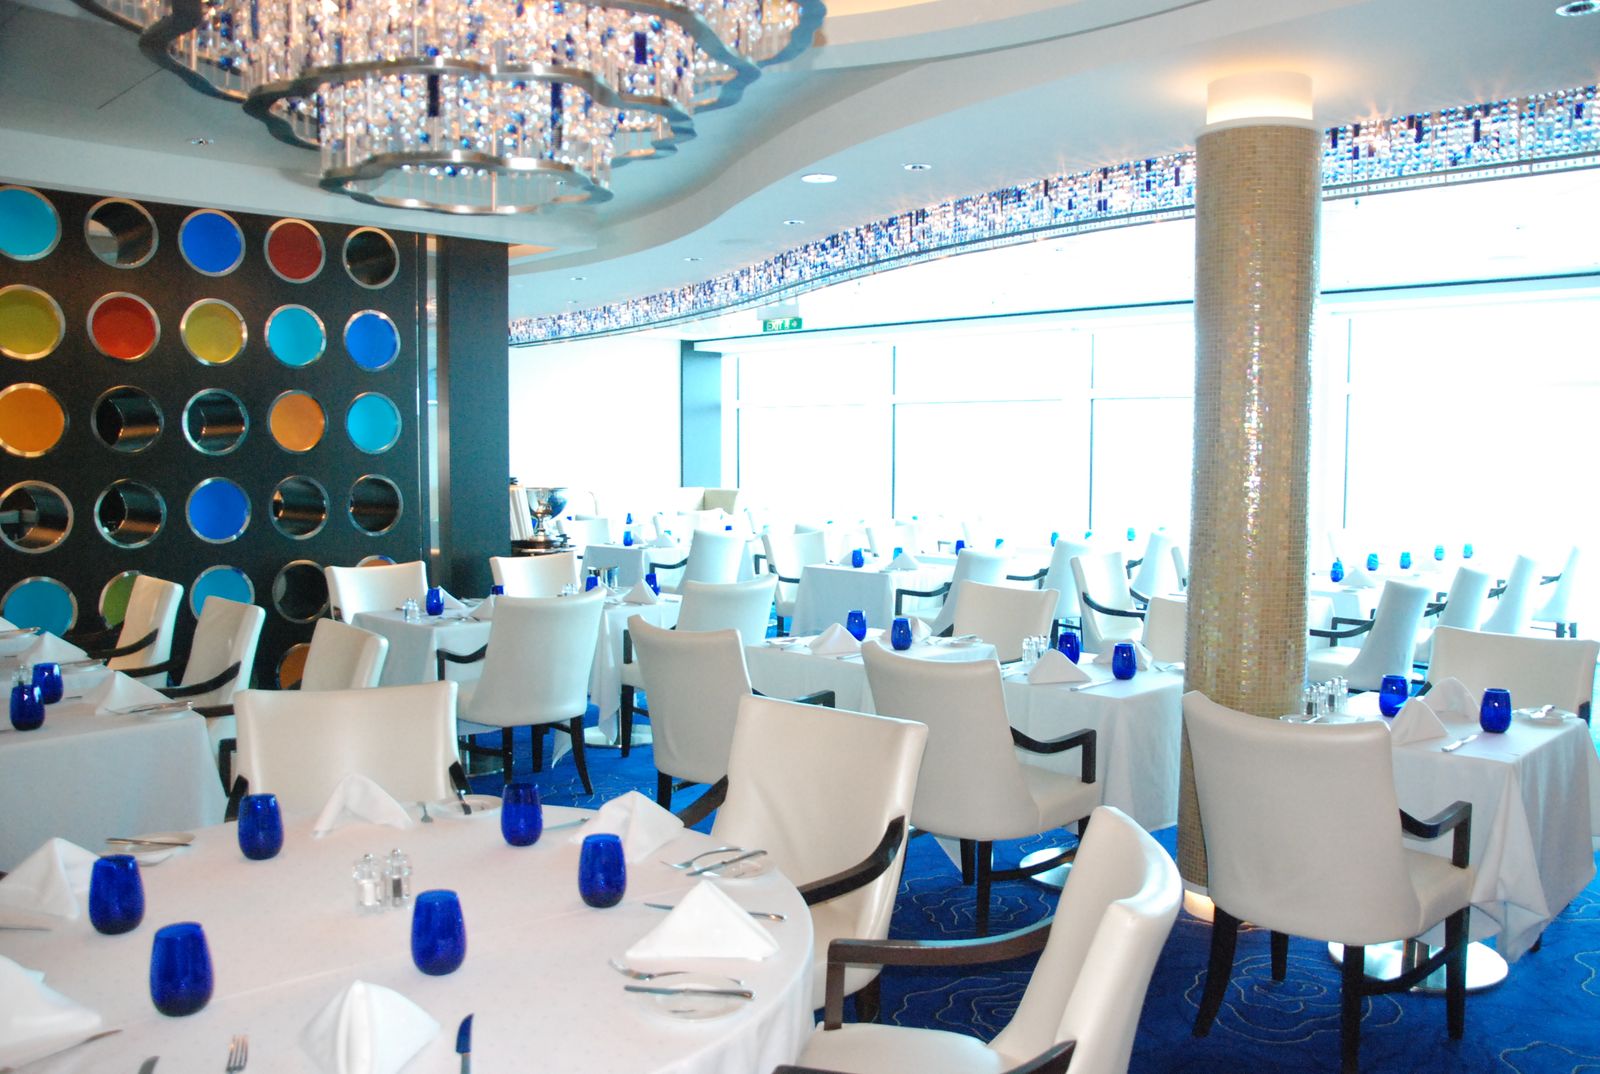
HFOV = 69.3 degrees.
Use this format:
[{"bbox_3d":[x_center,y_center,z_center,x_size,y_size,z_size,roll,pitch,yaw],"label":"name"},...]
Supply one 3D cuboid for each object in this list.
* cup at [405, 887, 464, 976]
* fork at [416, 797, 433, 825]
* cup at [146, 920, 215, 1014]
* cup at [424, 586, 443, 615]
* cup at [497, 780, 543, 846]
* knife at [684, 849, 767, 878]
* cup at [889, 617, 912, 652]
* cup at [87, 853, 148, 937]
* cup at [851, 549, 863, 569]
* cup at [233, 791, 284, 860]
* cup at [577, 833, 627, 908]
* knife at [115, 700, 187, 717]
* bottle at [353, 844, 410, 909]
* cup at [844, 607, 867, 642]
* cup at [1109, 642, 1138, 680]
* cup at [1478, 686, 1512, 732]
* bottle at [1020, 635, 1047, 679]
[{"bbox_3d":[-0.935,1.022,2.997,0.136,0.189,0.133,-4,-3,0],"label":"cup"},{"bbox_3d":[-1.253,0.908,3.859,0.032,0.023,0.129,-1,16,-15],"label":"fork"},{"bbox_3d":[-1.524,1.093,2.845,0.146,0.211,0.151,-9,-23,-4],"label":"cup"},{"bbox_3d":[-2.358,0.409,7.549,0.142,0.248,0.150,-1,5,0],"label":"cup"},{"bbox_3d":[-0.860,0.874,3.730,0.163,0.242,0.165,-2,1,0],"label":"cup"},{"bbox_3d":[-0.218,0.984,3.498,0.223,0.045,0.158,0,0,4],"label":"knife"},{"bbox_3d":[0.554,0.541,6.462,0.150,0.226,0.153,-2,4,0],"label":"cup"},{"bbox_3d":[-1.865,0.966,3.154,0.151,0.205,0.109,0,1,-16],"label":"cup"},{"bbox_3d":[0.519,0.205,10.709,0.136,0.210,0.142,-2,5,0],"label":"cup"},{"bbox_3d":[-1.639,0.881,3.548,0.133,0.192,0.129,-2,-5,0],"label":"cup"},{"bbox_3d":[-0.561,0.943,3.292,0.133,0.204,0.122,0,1,0],"label":"cup"},{"bbox_3d":[-2.800,0.744,5.008,0.123,0.035,0.127,-2,2,38],"label":"knife"},{"bbox_3d":[-1.187,0.974,3.304,0.149,0.134,0.146,0,1,-21],"label":"bottle"},{"bbox_3d":[0.305,0.511,6.753,0.137,0.194,0.142,-2,0,0],"label":"cup"},{"bbox_3d":[1.609,0.611,5.788,0.154,0.235,0.167,-2,2,0],"label":"cup"},{"bbox_3d":[2.968,0.741,4.951,0.113,0.187,0.163,1,1,29],"label":"cup"},{"bbox_3d":[1.183,0.615,6.003,0.160,0.258,0.156,1,-5,0],"label":"bottle"}]
